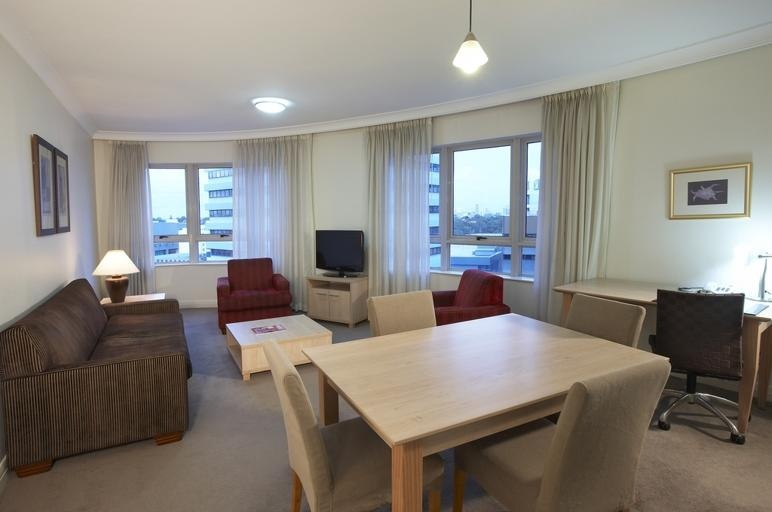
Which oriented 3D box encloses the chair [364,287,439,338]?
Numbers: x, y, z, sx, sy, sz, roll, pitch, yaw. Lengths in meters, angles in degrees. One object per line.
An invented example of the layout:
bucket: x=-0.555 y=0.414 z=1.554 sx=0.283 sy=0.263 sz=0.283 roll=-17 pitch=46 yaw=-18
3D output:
chair: x=0.149 y=0.456 z=4.831 sx=0.490 sy=0.727 sz=0.411 roll=-3 pitch=-1 yaw=-22

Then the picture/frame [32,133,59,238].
picture/frame: x=-3.613 y=-0.722 z=5.497 sx=0.089 sy=1.023 sz=0.690 roll=-4 pitch=7 yaw=-20

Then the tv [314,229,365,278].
tv: x=-0.709 y=-0.064 z=7.834 sx=0.770 sy=0.646 sz=0.131 roll=-1 pitch=1 yaw=-25

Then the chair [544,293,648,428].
chair: x=1.905 y=0.672 z=4.453 sx=0.508 sy=0.923 sz=0.508 roll=7 pitch=3 yaw=-35

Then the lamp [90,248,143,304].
lamp: x=-3.482 y=0.273 z=6.725 sx=0.564 sy=0.676 sz=0.562 roll=-2 pitch=3 yaw=21

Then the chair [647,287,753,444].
chair: x=3.007 y=0.888 z=4.974 sx=0.962 sy=1.450 sz=0.959 roll=-19 pitch=19 yaw=-39

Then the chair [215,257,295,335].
chair: x=-1.944 y=0.539 z=7.612 sx=1.153 sy=0.947 sz=1.076 roll=-5 pitch=8 yaw=-32

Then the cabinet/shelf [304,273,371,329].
cabinet/shelf: x=-0.704 y=0.645 z=7.698 sx=0.815 sy=0.649 sz=0.471 roll=4 pitch=7 yaw=32
